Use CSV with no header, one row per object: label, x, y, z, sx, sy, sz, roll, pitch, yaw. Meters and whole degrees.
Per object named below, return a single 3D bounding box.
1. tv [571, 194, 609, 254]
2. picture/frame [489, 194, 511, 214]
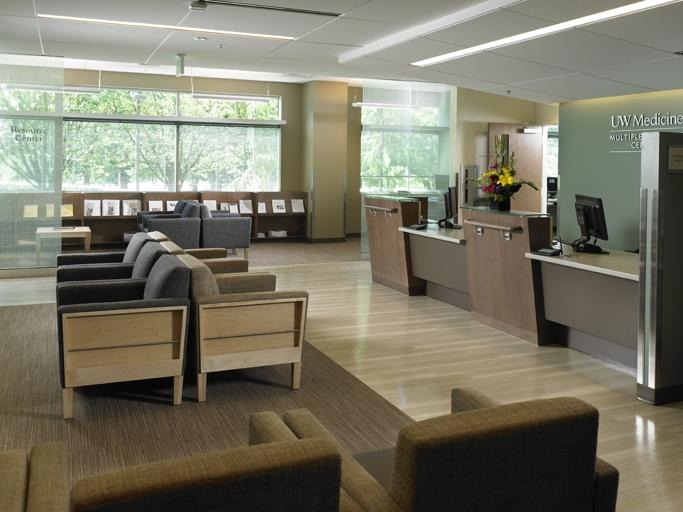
tv,2.863,-0.368,5.470,0.333,0.641,0.445,5,10,25
picture/frame,2.082,-0.685,6.316,0.220,0.262,0.393,-5,8,-25
